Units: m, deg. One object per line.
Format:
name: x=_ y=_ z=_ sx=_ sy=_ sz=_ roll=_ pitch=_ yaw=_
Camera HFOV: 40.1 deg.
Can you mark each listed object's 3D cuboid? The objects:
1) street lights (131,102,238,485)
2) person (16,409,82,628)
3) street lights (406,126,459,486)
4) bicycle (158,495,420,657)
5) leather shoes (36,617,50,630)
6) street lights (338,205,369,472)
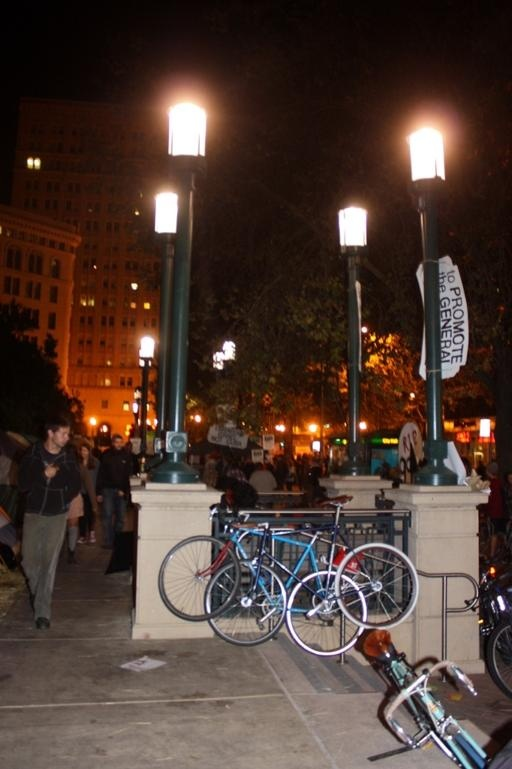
street lights: x=-0.774 y=-1.021 z=7.049 sx=0.445 sy=3.986 sz=0.701 roll=1 pitch=-4 yaw=-6
person: x=-1.970 y=1.310 z=6.696 sx=0.563 sy=1.909 sz=0.458 roll=2 pitch=-4 yaw=-19
street lights: x=1.727 y=-0.838 z=7.026 sx=0.428 sy=3.657 sz=0.494 roll=1 pitch=-4 yaw=2
bicycle: x=0.277 y=1.707 z=6.410 sx=2.235 sy=1.385 sz=1.509 roll=1 pitch=-5 yaw=7
leather shoes: x=-1.960 y=2.194 z=6.467 sx=0.122 sy=0.108 sz=0.135 roll=3 pitch=-5 yaw=-17
street lights: x=1.404 y=-0.598 z=10.526 sx=0.510 sy=4.014 sz=0.519 roll=-3 pitch=5 yaw=-26
